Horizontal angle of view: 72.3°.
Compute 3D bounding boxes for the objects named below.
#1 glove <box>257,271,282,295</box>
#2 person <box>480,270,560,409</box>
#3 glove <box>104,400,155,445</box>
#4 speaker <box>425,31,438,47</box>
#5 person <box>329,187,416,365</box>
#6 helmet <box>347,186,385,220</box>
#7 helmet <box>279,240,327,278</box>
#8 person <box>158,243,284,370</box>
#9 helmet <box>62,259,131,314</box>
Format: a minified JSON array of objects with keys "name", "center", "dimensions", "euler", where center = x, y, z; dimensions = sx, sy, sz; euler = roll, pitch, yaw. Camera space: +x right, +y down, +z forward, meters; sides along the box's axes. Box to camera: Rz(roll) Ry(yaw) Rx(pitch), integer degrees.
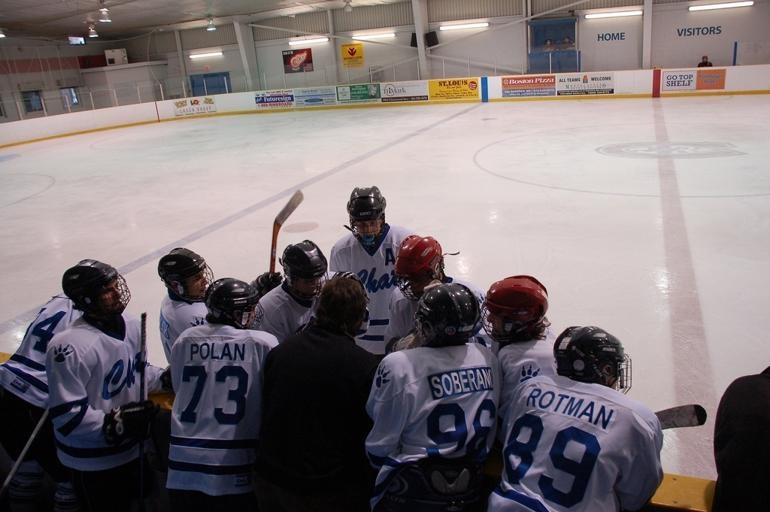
[{"name":"glove","center":[-1.060,0.251,4.860],"dimensions":[0.132,0.161,0.171],"euler":[10,41,33]},{"name":"person","center":[0.790,0.505,3.701],"dimensions":[0.684,1.115,0.820],"euler":[1,-1,9]},{"name":"glove","center":[-1.697,1.105,3.504],"dimensions":[0.254,0.340,0.156],"euler":[-3,31,-20]},{"name":"speaker","center":[2.463,-11.277,27.342],"dimensions":[0.740,0.801,0.309],"euler":[-10,13,-26]},{"name":"person","center":[-0.076,0.415,5.112],"dimensions":[0.894,1.999,0.621],"euler":[-2,9,10]},{"name":"helmet","center":[-0.170,-0.478,4.889],"dimensions":[0.292,0.307,0.334],"euler":[-2,-6,2]},{"name":"helmet","center":[-0.609,0.018,4.067],"dimensions":[0.297,0.259,0.304],"euler":[-15,13,-40]},{"name":"person","center":[-1.304,0.403,4.186],"dimensions":[0.525,1.453,0.656],"euler":[-11,39,-27]},{"name":"helmet","center":[-2.009,0.201,3.818],"dimensions":[0.462,0.389,0.351],"euler":[-20,21,-25]}]
